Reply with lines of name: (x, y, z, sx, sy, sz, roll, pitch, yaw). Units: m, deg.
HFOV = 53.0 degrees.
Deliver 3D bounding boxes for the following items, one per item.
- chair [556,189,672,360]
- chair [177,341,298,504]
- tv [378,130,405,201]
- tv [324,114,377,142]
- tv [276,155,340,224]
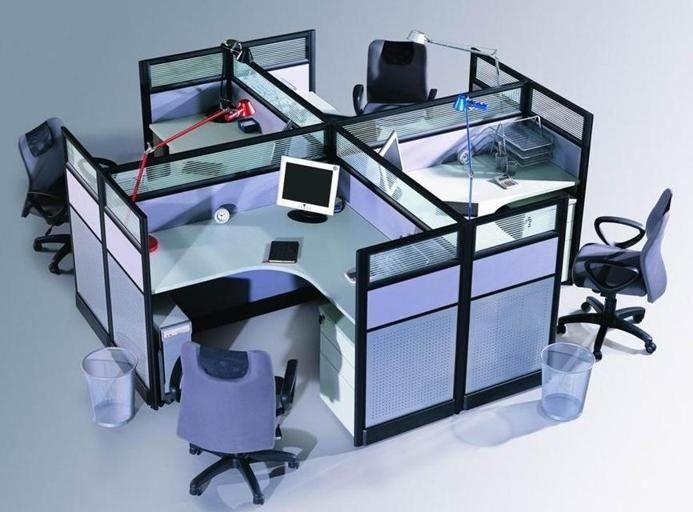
chair: (2.160, 0.213, 5.614, 0.805, 1.130, 0.843, 7, 42, 15)
chair: (-0.692, 1.083, 4.299, 0.733, 1.099, 0.708, 3, 52, -5)
tv: (0.325, -0.669, 5.172, 0.040, 0.378, 0.539, -11, 41, 22)
tv: (0.047, -1.024, 5.623, 0.306, 0.183, 0.309, -8, 32, -23)
tv: (-0.299, -0.490, 5.255, 0.429, 0.424, 0.170, 10, 22, 3)
